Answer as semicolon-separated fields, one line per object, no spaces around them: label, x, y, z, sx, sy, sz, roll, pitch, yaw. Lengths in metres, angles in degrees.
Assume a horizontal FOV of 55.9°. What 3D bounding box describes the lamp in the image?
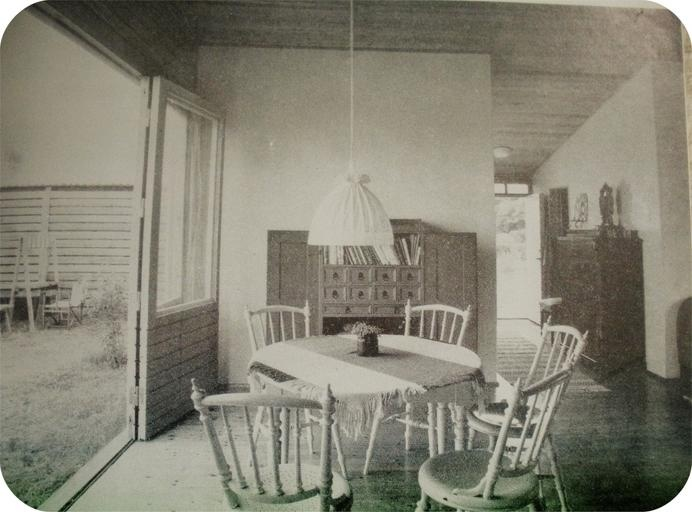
lamp;0.018;-1.044;4.702;0.626;1.621;1.612;-2;0;-2
